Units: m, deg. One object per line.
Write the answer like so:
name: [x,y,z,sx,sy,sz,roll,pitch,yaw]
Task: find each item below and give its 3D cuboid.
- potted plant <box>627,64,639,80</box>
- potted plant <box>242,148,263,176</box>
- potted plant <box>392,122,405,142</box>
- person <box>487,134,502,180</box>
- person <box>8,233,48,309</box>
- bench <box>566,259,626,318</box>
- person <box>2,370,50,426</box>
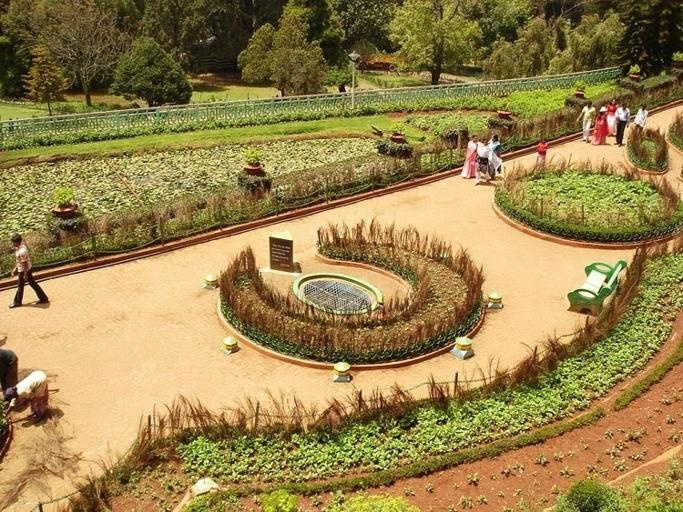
potted plant: [15.748,-9.853,39.331,0.648,0.835,0.708,2,27,12]
potted plant: [-3.135,-3.325,25.671,0.766,1.147,0.816,-4,16,-13]
potted plant: [2.334,-5.052,29.867,0.489,0.705,0.876,2,24,16]
person: [5.752,-3.791,27.341,0.562,1.679,1.331,1,22,13]
person: [-8.363,0.342,19.189,0.916,1.998,0.536,-14,23,-25]
bench: [6.709,0.747,19.246,1.076,0.882,1.645,11,30,31]
person: [-6.791,3.039,15.800,0.854,0.996,0.433,-19,25,-32]
